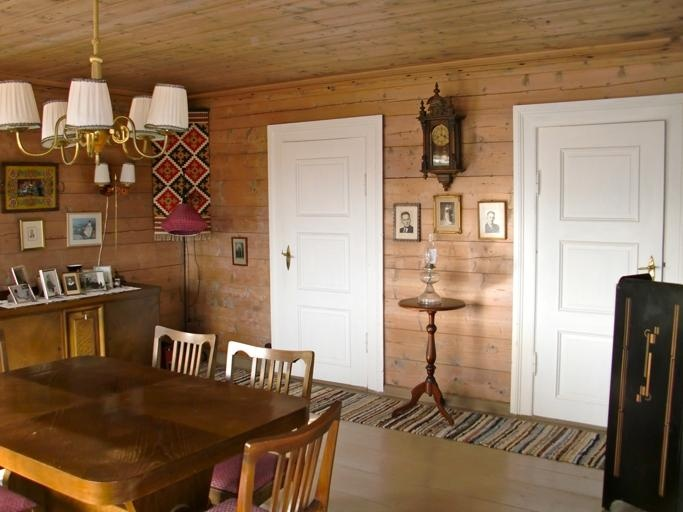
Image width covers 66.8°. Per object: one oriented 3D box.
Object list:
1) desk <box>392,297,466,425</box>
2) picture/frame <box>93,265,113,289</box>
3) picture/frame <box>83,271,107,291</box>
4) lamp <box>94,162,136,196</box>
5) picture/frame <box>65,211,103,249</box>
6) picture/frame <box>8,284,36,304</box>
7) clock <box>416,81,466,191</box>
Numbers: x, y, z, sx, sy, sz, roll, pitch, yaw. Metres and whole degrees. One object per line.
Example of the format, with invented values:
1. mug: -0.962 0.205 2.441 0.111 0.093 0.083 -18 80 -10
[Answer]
1. desk: 0.721 0.843 4.254 0.676 0.881 0.581 11 -9 -7
2. picture/frame: -2.217 0.205 4.836 0.028 0.248 0.212 -1 3 25
3. picture/frame: -2.260 0.231 4.756 0.107 0.155 0.184 -15 -9 32
4. lamp: -2.206 -0.778 5.144 0.526 0.337 0.353 -11 13 -42
5. picture/frame: -2.484 -0.260 4.989 0.040 0.320 0.410 -2 0 32
6. picture/frame: -2.634 0.317 4.288 0.092 0.107 0.157 -16 -5 25
7. clock: 0.827 -0.966 4.271 0.361 0.848 0.277 0 12 12
